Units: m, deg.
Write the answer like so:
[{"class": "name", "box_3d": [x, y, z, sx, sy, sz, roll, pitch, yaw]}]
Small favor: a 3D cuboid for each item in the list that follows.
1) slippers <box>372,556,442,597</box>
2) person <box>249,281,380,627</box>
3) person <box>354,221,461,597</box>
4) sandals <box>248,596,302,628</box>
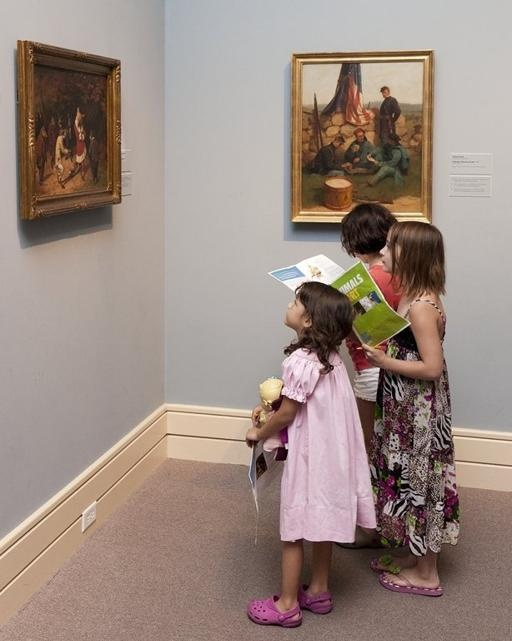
[{"class": "slippers", "box_3d": [0.569, 0.992, 2.052, 0.205, 0.061, 0.117, 16, 21, 35]}, {"class": "person", "box_3d": [0.157, 0.448, 1.763, 0.383, 1.145, 0.334, 4, 5, 42]}, {"class": "person", "box_3d": [0.600, 0.143, 2.442, 0.381, 1.352, 0.328, -9, 14, -3]}, {"class": "sandals", "box_3d": [0.055, 0.974, 1.781, 0.149, 0.071, 0.083, 8, 2, 11]}]
